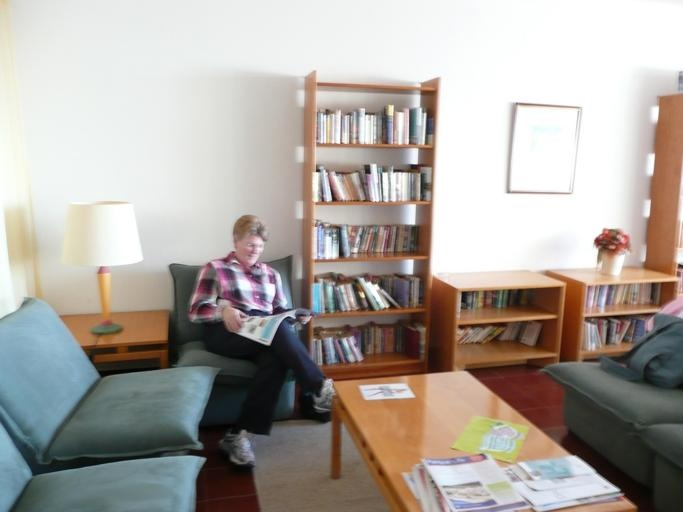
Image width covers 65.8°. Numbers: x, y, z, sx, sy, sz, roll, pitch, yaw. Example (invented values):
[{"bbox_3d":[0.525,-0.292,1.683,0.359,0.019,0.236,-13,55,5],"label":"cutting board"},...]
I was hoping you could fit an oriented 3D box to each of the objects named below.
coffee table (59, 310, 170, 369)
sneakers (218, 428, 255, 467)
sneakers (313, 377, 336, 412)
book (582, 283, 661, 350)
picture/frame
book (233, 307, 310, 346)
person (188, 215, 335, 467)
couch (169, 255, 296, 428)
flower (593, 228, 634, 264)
[{"bbox_3d":[-1.407,0.431,3.471,0.639,0.278,0.436,-1,13,-12],"label":"coffee table"},{"bbox_3d":[-0.589,1.098,3.019,0.141,0.079,0.213,1,10,-26],"label":"sneakers"},{"bbox_3d":[-0.087,0.905,3.419,0.193,0.227,0.079,7,2,44],"label":"sneakers"},{"bbox_3d":[2.218,0.501,4.248,0.634,0.494,0.202,-2,7,-15],"label":"book"},{"bbox_3d":[1.670,-0.929,4.408,0.924,0.855,0.071,1,10,-7],"label":"picture/frame"},{"bbox_3d":[-0.441,0.438,3.350,0.276,0.080,0.271,6,13,35],"label":"book"},{"bbox_3d":[-0.458,0.470,3.373,0.903,1.208,1.169,2,13,-41],"label":"person"},{"bbox_3d":[-0.554,0.542,3.752,1.006,1.020,1.100,0,8,-14],"label":"couch"},{"bbox_3d":[2.301,-0.086,4.469,0.331,0.268,0.284,3,-1,-5],"label":"flower"}]
